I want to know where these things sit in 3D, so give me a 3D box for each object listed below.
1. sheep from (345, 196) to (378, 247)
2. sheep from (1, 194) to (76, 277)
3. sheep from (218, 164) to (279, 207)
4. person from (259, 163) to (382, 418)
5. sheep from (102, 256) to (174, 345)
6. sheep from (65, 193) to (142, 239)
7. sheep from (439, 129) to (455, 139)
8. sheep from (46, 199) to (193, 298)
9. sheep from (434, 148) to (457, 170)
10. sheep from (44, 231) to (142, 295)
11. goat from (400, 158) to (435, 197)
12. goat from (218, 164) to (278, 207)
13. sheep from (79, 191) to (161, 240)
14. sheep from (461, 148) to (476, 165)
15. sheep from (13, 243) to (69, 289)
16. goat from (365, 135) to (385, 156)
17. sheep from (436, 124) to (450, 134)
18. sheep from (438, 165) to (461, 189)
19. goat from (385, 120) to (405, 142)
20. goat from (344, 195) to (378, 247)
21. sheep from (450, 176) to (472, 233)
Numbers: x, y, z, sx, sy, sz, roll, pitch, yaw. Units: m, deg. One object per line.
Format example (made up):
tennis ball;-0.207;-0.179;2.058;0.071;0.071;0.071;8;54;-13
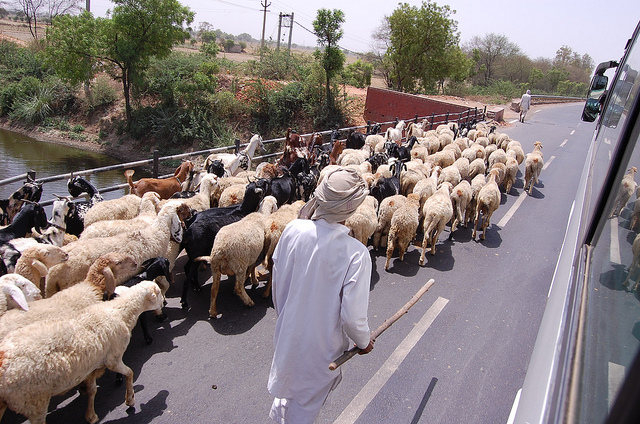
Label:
sheep;0.963;0.159;9.161;0.478;0.751;1.388;5;26;20
sheep;-4.529;0.342;7.173;0.576;1.361;1.441;28;25;32
sheep;-1.575;-0.561;9.835;1.174;0.853;0.376;-35;51;-28
person;0.044;1.067;5.251;1.328;3.085;0.892;7;19;8
sheep;-2.532;1.236;7.117;0.578;0.893;1.478;38;39;8
sheep;-4.422;-0.033;8.309;1.461;0.460;1.026;23;10;34
sheep;5.220;-3.219;17.917;0.642;0.337;0.512;-17;26;-34
sheep;-3.109;0.756;7.508;0.600;1.257;2.324;1;15;38
sheep;4.156;-1.652;14.019;0.402;0.700;1.348;8;18;39
sheep;-3.759;0.647;7.156;1.678;0.826;0.473;-25;48;-36
goat;2.744;-0.937;12.138;0.547;0.727;1.417;25;43;31
goat;-1.585;-0.561;9.835;1.098;0.800;0.359;-36;61;-22
sheep;-3.344;0.088;7.687;0.786;0.525;1.566;11;17;20
sheep;5.059;-1.878;14.860;0.492;0.293;0.378;-37;42;-29
sheep;-4.074;0.736;6.391;0.808;0.591;0.465;0;16;-43
goat;1.991;-2.461;16.057;0.401;0.759;0.932;10;36;25
sheep;5.310;-3.600;19.019;0.615;0.402;0.750;-2;10;11
sheep;3.516;-0.916;11.875;0.350;0.562;0.819;13;49;35
goat;3.006;-3.127;17.559;0.489;0.684;2.165;8;17;13
goat;1.013;0.032;9.264;0.497;0.667;1.344;8;39;20
sheep;3.519;-0.112;11.082;0.471;1.299;0.930;11;19;20
